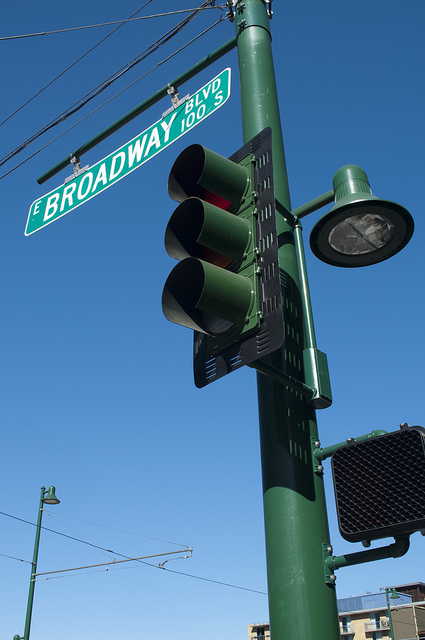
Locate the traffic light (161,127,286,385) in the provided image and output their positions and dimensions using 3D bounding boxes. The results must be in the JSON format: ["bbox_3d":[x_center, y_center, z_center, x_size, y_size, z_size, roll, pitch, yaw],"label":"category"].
[{"bbox_3d":[-0.009,-0.318,3.024,0.419,1.223,0.654,11,-33,-22],"label":"traffic light"}]

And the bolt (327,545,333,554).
[{"bbox_3d":[0.461,0.905,2.640,0.008,0.030,0.024,-17,-33,24],"label":"bolt"}]

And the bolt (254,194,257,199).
[{"bbox_3d":[0.197,-0.562,3.047,0.012,0.016,0.013,-6,-30,5],"label":"bolt"}]
